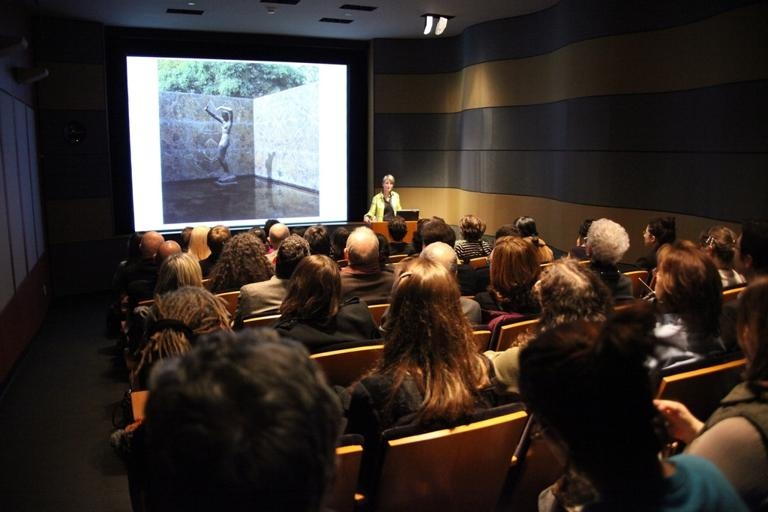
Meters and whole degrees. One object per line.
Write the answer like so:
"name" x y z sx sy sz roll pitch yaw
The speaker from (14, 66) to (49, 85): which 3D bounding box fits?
"speaker" -4.218 -2.151 6.217 0.316 0.198 0.273 -6 13 -29
